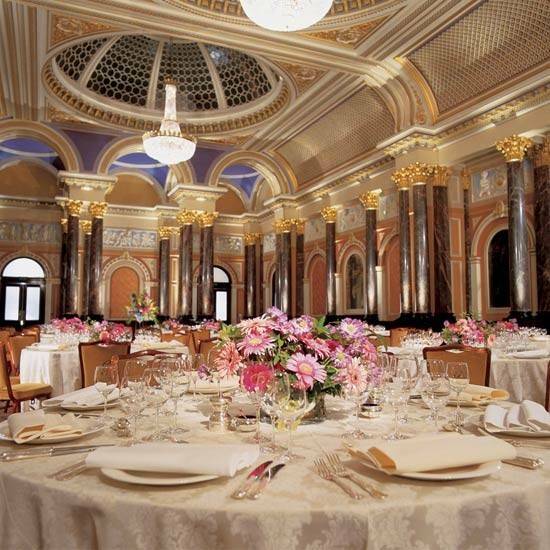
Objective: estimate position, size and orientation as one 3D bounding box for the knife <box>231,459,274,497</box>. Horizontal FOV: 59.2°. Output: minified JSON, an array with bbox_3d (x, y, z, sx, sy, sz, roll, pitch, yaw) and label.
[{"bbox_3d":[-0.055,0.438,1.047,0.026,0.012,0.117,1,9,20],"label":"knife"}]

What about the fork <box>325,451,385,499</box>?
[{"bbox_3d":[0.174,0.445,1.078,0.031,0.024,0.180,0,-2,-17],"label":"fork"}]

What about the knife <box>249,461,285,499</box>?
[{"bbox_3d":[-0.023,0.447,1.052,0.022,0.018,0.124,24,3,10],"label":"knife"}]

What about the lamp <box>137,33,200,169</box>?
[{"bbox_3d":[-2.005,-2.965,9.099,0.956,1.672,0.565,-3,-3,-12],"label":"lamp"}]

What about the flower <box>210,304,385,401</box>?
[{"bbox_3d":[0.073,0.243,1.506,0.392,0.215,0.368,3,2,2],"label":"flower"}]
